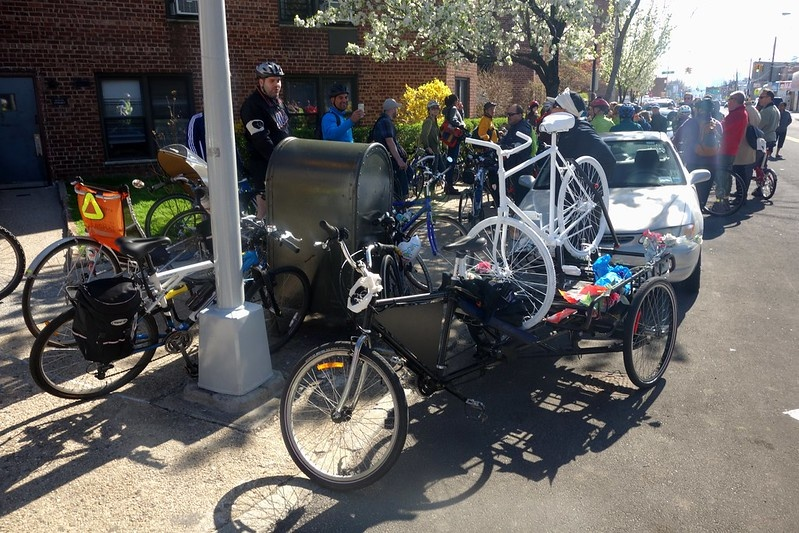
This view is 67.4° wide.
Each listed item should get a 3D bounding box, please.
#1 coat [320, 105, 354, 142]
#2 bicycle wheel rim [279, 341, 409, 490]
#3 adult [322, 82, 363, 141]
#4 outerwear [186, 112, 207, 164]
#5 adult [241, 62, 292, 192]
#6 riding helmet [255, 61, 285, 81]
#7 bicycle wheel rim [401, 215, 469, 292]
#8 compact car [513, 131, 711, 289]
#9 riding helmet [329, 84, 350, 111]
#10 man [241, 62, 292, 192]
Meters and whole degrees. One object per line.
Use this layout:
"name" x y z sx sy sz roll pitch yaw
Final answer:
"coat" -0.964 -2.196 9.340 0.468 0.501 0.734 -4 21 -12
"bicycle wheel rim" -0.483 1.235 5.134 1.095 1.252 0.540 1 20 2
"adult" -0.900 -2.204 9.564 0.647 1.323 0.763 3 19 5
"outerwear" -3.109 -1.991 9.139 0.250 0.626 0.892 -6 22 -18
"adult" -1.833 -1.824 8.201 0.608 1.788 1.059 -3 20 -11
"riding helmet" -1.796 -2.730 8.333 0.295 0.199 0.708 -2 22 -8
"bicycle wheel rim" 0.445 -0.194 9.117 0.641 0.831 1.344 -1 30 40
"compact car" 3.715 -0.965 9.039 1.783 1.475 3.602 0 9 24
"riding helmet" -0.966 -2.678 9.688 0.339 0.448 0.432 -1 -2 -31
"man" -1.834 -1.825 8.204 0.608 1.788 1.053 -3 20 -11
